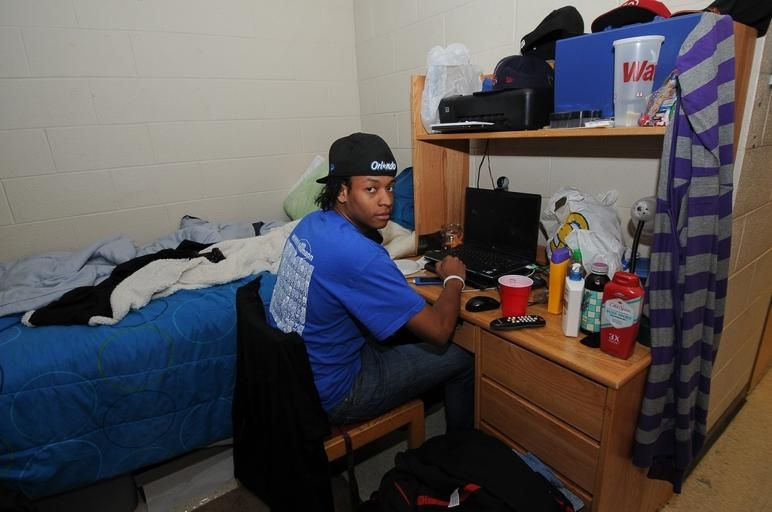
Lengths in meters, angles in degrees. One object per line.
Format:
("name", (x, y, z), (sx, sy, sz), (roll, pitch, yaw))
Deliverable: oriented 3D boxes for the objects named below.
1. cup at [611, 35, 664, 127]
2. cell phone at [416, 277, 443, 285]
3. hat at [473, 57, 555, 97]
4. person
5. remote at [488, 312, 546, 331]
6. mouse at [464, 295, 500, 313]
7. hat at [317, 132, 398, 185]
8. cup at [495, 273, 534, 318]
("cup", (1.037, -0.721, 1.991), (0.180, 0.345, 0.099), (6, 21, 27))
("cell phone", (0.218, 0.128, 2.402), (0.108, 0.011, 0.060), (1, 19, 5))
("hat", (0.648, -0.886, 2.325), (0.266, 0.099, 0.191), (-5, 31, 3))
("person", (0.041, 0.257, 2.373), (1.143, 1.613, 0.853), (-7, 23, -2))
("remote", (0.562, 0.284, 2.037), (0.180, 0.037, 0.092), (-4, 15, -3))
("mouse", (0.437, 0.221, 2.172), (0.127, 0.041, 0.072), (-8, 16, -23))
("hat", (-0.134, -0.450, 2.154), (0.384, 0.204, 0.274), (4, 13, 30))
("cup", (0.573, 0.181, 2.181), (0.166, 0.174, 0.169), (-1, 17, 0))
